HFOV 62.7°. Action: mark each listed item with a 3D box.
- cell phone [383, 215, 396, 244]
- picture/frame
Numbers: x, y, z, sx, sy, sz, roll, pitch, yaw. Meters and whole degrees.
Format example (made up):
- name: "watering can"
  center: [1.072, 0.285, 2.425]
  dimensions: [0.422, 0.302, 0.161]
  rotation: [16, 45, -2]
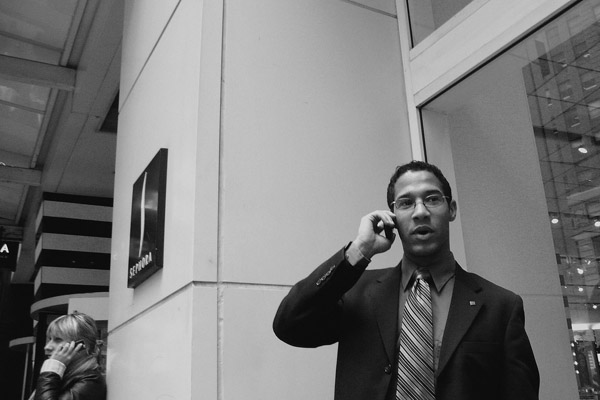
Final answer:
- name: "cell phone"
  center: [0.349, 0.117, 1.863]
  dimensions: [0.022, 0.079, 0.059]
  rotation: [3, 29, 25]
- name: "picture/frame"
  center: [-0.847, 0.117, 2.724]
  dimensions: [0.068, 0.640, 0.643]
  rotation: [8, -28, -23]
